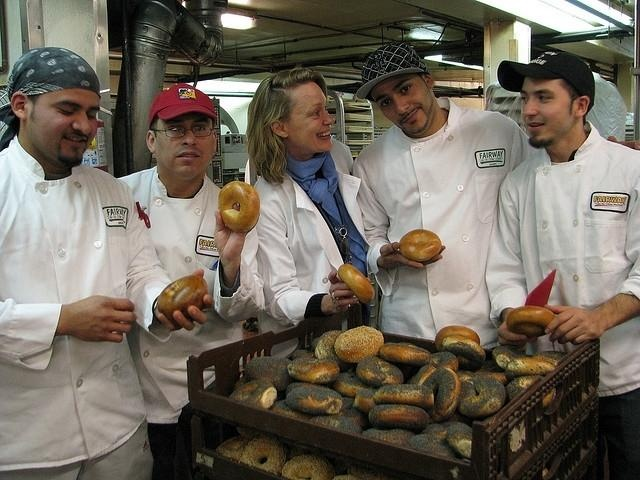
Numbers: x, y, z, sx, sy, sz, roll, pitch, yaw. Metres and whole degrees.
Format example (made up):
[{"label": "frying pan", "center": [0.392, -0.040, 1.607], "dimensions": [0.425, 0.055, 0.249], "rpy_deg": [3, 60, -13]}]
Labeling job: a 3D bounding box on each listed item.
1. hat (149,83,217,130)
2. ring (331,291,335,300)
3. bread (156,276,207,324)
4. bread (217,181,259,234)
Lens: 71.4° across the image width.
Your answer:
[{"label": "hat", "center": [-0.689, -0.693, 2.264], "dimensions": [0.292, 0.216, 0.394], "rpy_deg": [-8, 10, -33]}, {"label": "ring", "center": [0.057, 0.248, 2.006], "dimensions": [0.009, 0.029, 0.028], "rpy_deg": [-7, 26, -13]}, {"label": "bread", "center": [-0.560, 0.228, 1.885], "dimensions": [0.158, 0.128, 0.208], "rpy_deg": [-5, 27, 47]}, {"label": "bread", "center": [-0.342, -0.133, 1.869], "dimensions": [0.158, 0.224, 0.156], "rpy_deg": [-5, 9, -15]}]
